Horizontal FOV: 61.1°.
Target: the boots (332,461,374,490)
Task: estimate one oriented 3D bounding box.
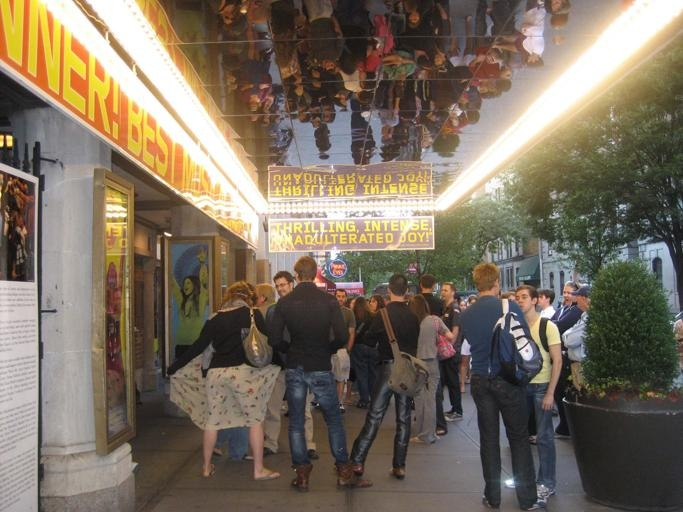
[{"bbox_3d":[0.113,2.450,6.502,0.508,0.333,0.193,0,-1,-40],"label":"boots"}]

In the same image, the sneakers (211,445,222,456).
[{"bbox_3d":[-1.672,2.618,7.875,0.090,0.127,0.310,2,-5,7],"label":"sneakers"}]

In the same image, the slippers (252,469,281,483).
[{"bbox_3d":[-0.874,2.568,6.806,0.235,0.102,0.117,-1,-7,-9],"label":"slippers"}]

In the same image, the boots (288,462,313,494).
[{"bbox_3d":[-0.460,2.442,6.447,0.158,0.281,0.335,1,1,-5],"label":"boots"}]

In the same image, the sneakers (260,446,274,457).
[{"bbox_3d":[-0.991,2.597,7.765,0.162,0.072,0.113,2,-3,-6],"label":"sneakers"}]

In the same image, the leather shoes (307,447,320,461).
[{"bbox_3d":[-0.370,2.561,7.545,0.105,0.123,0.280,0,-21,-2],"label":"leather shoes"}]

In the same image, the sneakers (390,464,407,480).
[{"bbox_3d":[0.675,2.507,6.759,0.076,0.101,0.226,-1,-1,-2],"label":"sneakers"}]

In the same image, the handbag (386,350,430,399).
[{"bbox_3d":[0.719,1.304,6.612,0.455,0.448,0.338,30,19,29],"label":"handbag"}]

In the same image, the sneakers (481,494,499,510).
[{"bbox_3d":[1.547,2.531,6.005,0.064,0.075,0.155,-3,7,-6],"label":"sneakers"}]

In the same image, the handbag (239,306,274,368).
[{"bbox_3d":[-1.010,0.945,6.821,0.263,0.622,0.538,-8,-3,-6],"label":"handbag"}]

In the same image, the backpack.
[{"bbox_3d":[1.815,0.949,6.000,0.503,0.844,0.434,8,-18,-42],"label":"backpack"}]
